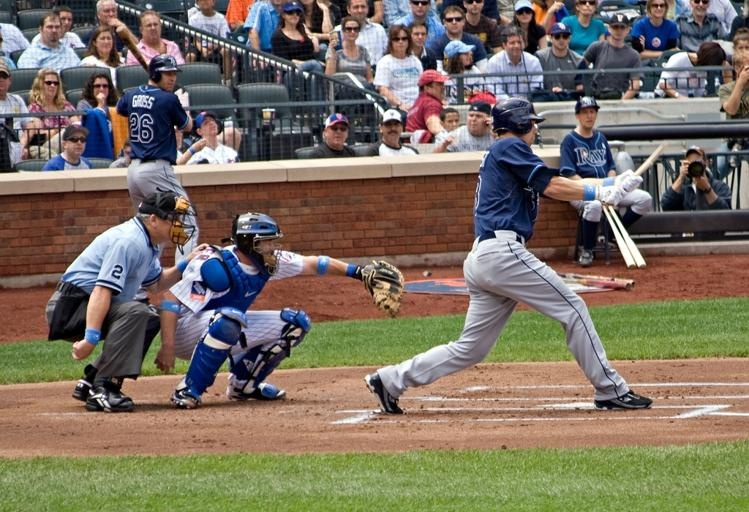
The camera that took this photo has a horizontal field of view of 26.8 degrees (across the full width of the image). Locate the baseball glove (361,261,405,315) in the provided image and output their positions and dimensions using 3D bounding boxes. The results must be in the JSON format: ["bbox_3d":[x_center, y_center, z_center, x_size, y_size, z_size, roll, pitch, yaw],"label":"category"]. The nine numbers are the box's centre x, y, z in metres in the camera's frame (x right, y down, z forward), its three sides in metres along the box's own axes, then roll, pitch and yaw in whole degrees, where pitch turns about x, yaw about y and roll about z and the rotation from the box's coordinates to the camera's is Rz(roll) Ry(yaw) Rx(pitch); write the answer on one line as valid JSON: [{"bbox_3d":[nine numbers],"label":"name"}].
[{"bbox_3d":[0.142,0.345,17.245,0.431,0.579,0.221,-27,-4,5],"label":"baseball glove"}]

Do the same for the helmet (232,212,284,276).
[{"bbox_3d":[-1.279,-0.121,17.018,0.513,0.658,0.247,-1,8,-9],"label":"helmet"}]

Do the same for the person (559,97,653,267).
[{"bbox_3d":[3.438,-1.261,23.130,1.208,2.819,1.402,0,3,-4],"label":"person"}]

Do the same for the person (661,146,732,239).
[{"bbox_3d":[4.934,-0.921,24.134,1.371,1.762,1.055,-2,-6,8],"label":"person"}]

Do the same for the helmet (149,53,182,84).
[{"bbox_3d":[-2.727,-2.418,20.339,0.382,0.289,0.307,16,6,-2],"label":"helmet"}]

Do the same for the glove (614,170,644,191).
[{"bbox_3d":[2.682,-0.789,16.748,0.273,0.224,0.425,1,8,9],"label":"glove"}]

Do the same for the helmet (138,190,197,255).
[{"bbox_3d":[-2.279,-0.378,17.213,0.626,0.556,0.497,7,-6,16],"label":"helmet"}]

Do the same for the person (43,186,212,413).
[{"bbox_3d":[-2.753,0.508,17.011,1.500,2.346,0.735,-2,9,-13],"label":"person"}]

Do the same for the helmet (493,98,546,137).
[{"bbox_3d":[1.534,-1.521,16.984,0.638,0.366,0.420,-2,9,-6],"label":"helmet"}]
